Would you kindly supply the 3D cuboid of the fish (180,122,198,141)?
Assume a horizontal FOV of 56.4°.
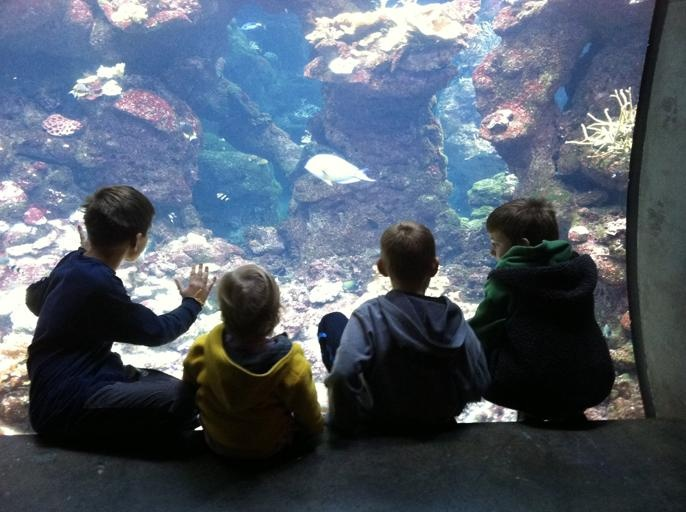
[{"bbox_3d":[-5.410,-4.372,22.589,0.157,0.549,0.622,-10,6,25],"label":"fish"}]
